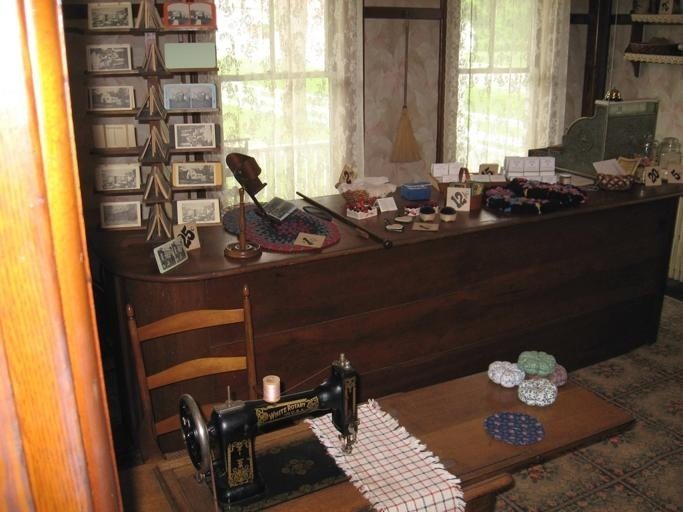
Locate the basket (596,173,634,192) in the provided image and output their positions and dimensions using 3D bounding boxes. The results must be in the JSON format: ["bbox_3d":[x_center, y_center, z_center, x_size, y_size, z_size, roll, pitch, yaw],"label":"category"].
[{"bbox_3d":[1.793,-0.478,3.692,0.215,0.107,0.106,5,15,22],"label":"basket"}]
